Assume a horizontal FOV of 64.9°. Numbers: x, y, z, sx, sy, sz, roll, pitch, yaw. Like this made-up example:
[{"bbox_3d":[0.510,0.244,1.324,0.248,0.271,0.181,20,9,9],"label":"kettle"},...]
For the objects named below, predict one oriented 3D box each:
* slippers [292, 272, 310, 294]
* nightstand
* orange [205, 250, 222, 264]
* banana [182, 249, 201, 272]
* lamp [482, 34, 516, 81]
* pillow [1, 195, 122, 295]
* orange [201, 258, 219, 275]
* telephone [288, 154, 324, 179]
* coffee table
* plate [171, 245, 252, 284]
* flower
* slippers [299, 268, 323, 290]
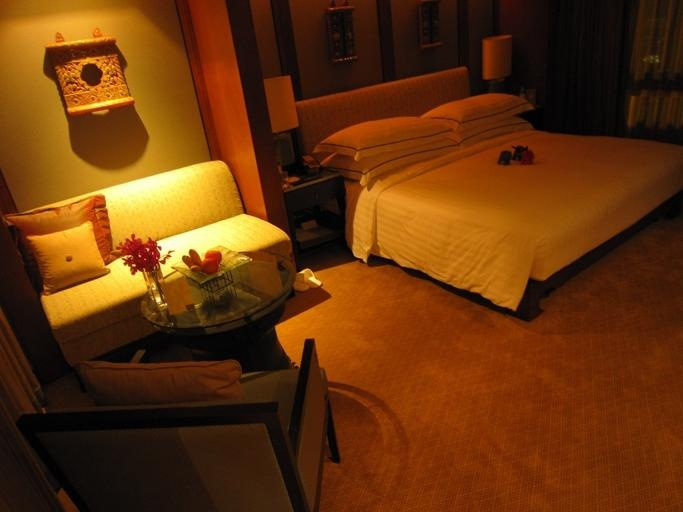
[{"bbox_3d":[-0.343,0.220,4.594,0.092,0.069,0.177,-20,30,-33],"label":"slippers"},{"bbox_3d":[-0.257,-0.436,4.856,0.408,0.651,0.557,24,37,38],"label":"nightstand"},{"bbox_3d":[-0.827,0.002,3.480,0.076,0.077,0.076,-13,20,-42],"label":"orange"},{"bbox_3d":[-0.960,0.032,3.498,0.090,0.051,0.174,-39,58,6],"label":"banana"},{"bbox_3d":[1.844,-2.361,6.339,0.365,0.493,0.261,-29,36,-27],"label":"lamp"},{"bbox_3d":[-1.981,-0.104,3.909,0.668,0.524,0.405,-23,32,-27],"label":"pillow"},{"bbox_3d":[-0.835,0.068,3.449,0.079,0.069,0.090,25,36,37],"label":"orange"},{"bbox_3d":[-0.340,-0.816,4.982,0.252,0.099,0.264,-28,50,-17],"label":"telephone"},{"bbox_3d":[-0.777,0.283,3.422,0.794,0.653,0.826,16,33,31],"label":"coffee table"},{"bbox_3d":[-0.796,0.070,3.525,0.299,0.084,0.339,27,42,36],"label":"plate"},{"bbox_3d":[-1.207,0.075,3.348,0.233,0.425,0.198,-1,28,11],"label":"flower"},{"bbox_3d":[-0.260,0.217,4.627,0.125,0.104,0.197,-27,38,-33],"label":"slippers"}]
